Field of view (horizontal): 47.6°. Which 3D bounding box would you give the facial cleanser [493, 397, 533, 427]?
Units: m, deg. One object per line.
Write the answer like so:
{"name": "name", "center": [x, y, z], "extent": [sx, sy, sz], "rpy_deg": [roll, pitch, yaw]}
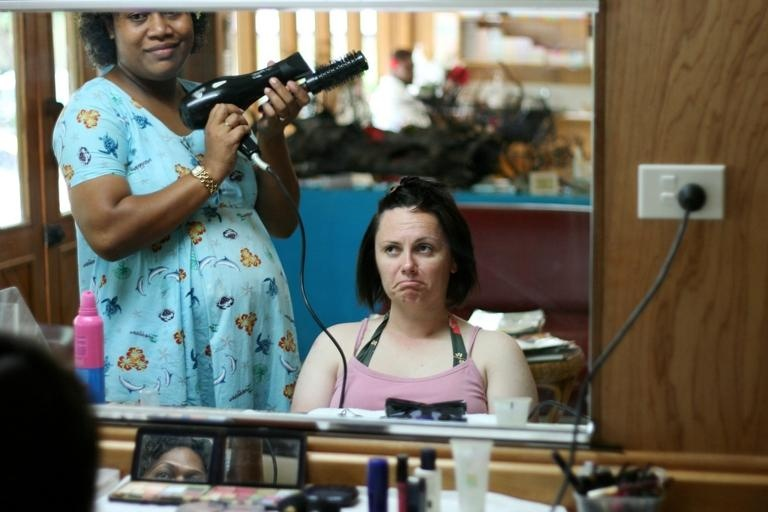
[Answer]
{"name": "facial cleanser", "center": [0.235, 0.282, 1.585], "extent": [0.057, 0.037, 0.043], "rpy_deg": [-2, -11, 8]}

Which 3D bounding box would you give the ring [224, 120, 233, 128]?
{"name": "ring", "center": [-0.307, -0.263, 1.716], "extent": [0.012, 0.016, 0.005], "rpy_deg": [-3, -3, 3]}

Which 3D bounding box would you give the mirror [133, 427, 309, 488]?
{"name": "mirror", "center": [-0.298, 0.358, 1.561], "extent": [0.311, 0.094, 0.033], "rpy_deg": [1, 7, 6]}

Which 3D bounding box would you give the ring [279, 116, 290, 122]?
{"name": "ring", "center": [-0.210, -0.288, 1.811], "extent": [0.010, 0.010, 0.008], "rpy_deg": [-13, 17, -41]}
